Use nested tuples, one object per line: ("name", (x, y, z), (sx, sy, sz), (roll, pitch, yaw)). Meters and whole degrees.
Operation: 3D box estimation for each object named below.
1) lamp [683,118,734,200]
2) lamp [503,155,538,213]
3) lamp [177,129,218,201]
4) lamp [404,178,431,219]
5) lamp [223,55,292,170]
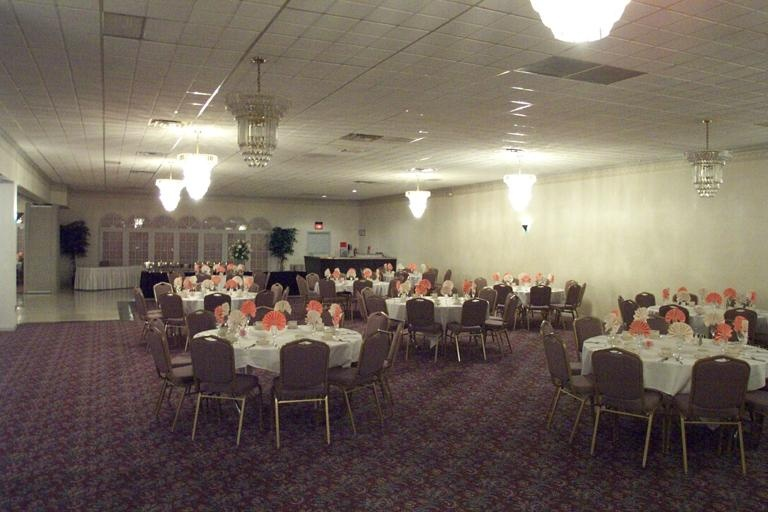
("lamp", (5.851, -1.801, 9.511), (0.953, 1.321, 0.958), (-1, 1, -12))
("lamp", (3.053, -1.732, 11.796), (0.630, 1.146, 0.615), (-23, 27, -25))
("lamp", (-3.419, -1.823, 9.804), (0.629, 1.163, 0.654), (-10, 9, -32))
("lamp", (0.971, -1.685, 14.869), (0.674, 1.155, 0.670), (10, -23, -26))
("lamp", (-1.668, -1.863, 6.910), (0.652, 1.297, 0.905), (-7, 11, -41))
